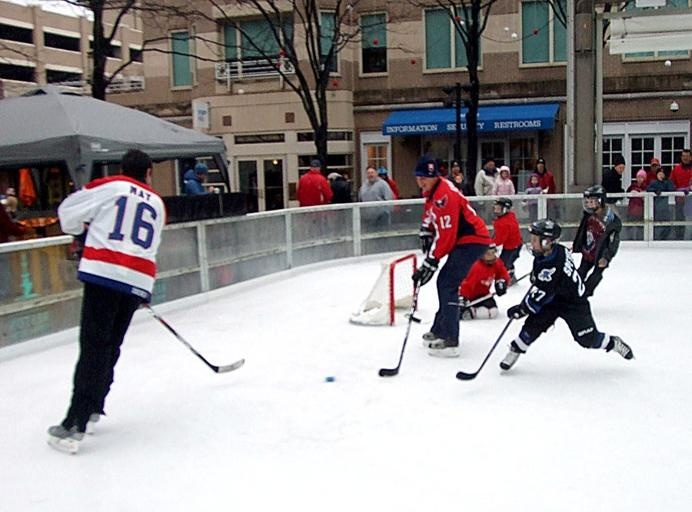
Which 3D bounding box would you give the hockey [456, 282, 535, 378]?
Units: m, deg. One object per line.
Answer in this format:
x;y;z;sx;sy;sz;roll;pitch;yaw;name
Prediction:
1.580;0.816;8.330;0.119;0.931;0.135;27;-6;12;hockey

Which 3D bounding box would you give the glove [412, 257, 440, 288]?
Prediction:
0.843;0.193;8.128;0.188;0.354;0.092;35;9;22;glove

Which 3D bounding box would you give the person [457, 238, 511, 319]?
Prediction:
1.621;0.301;9.176;0.649;0.910;0.495;-13;19;-25;person

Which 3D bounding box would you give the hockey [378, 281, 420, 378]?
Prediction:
0.665;0.770;8.195;0.223;0.321;1.684;8;28;15;hockey

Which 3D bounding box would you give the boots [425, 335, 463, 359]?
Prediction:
1.005;0.943;8.041;0.273;0.153;0.172;5;5;42;boots

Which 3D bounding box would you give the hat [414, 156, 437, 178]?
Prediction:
0.842;-0.926;8.083;0.172;0.191;0.219;4;11;11;hat

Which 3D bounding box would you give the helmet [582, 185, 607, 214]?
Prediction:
3.054;-0.704;9.562;0.325;0.361;0.237;2;-2;-37;helmet

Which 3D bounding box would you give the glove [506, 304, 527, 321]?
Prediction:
1.675;0.543;7.560;0.161;0.125;0.065;-27;-41;34;glove

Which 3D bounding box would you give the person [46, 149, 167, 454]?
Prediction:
-2.021;0.329;6.499;1.125;2.360;0.654;-7;11;-26;person

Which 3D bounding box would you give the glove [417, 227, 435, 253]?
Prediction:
0.886;-0.171;8.568;0.176;0.239;0.241;-9;-3;0;glove

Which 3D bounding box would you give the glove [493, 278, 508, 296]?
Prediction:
1.823;0.366;9.076;0.127;0.209;0.080;2;-4;26;glove

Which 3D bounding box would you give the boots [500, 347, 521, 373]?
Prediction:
1.598;0.998;7.559;0.158;0.270;0.103;37;9;18;boots

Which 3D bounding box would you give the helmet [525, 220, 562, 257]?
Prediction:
1.891;-0.174;7.417;0.323;0.379;0.273;3;8;13;helmet

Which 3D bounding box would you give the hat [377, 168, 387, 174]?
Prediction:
0.687;-1.601;14.375;0.114;0.113;0.201;-1;-1;21;hat

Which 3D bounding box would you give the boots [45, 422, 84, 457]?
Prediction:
-2.285;1.479;6.306;0.299;0.219;0.218;-5;11;-15;boots

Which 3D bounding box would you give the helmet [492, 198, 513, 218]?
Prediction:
2.138;-0.672;10.560;0.257;0.286;0.262;6;9;10;helmet

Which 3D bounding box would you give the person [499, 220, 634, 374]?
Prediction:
2.060;0.381;7.482;1.146;1.434;0.292;-2;10;1;person
